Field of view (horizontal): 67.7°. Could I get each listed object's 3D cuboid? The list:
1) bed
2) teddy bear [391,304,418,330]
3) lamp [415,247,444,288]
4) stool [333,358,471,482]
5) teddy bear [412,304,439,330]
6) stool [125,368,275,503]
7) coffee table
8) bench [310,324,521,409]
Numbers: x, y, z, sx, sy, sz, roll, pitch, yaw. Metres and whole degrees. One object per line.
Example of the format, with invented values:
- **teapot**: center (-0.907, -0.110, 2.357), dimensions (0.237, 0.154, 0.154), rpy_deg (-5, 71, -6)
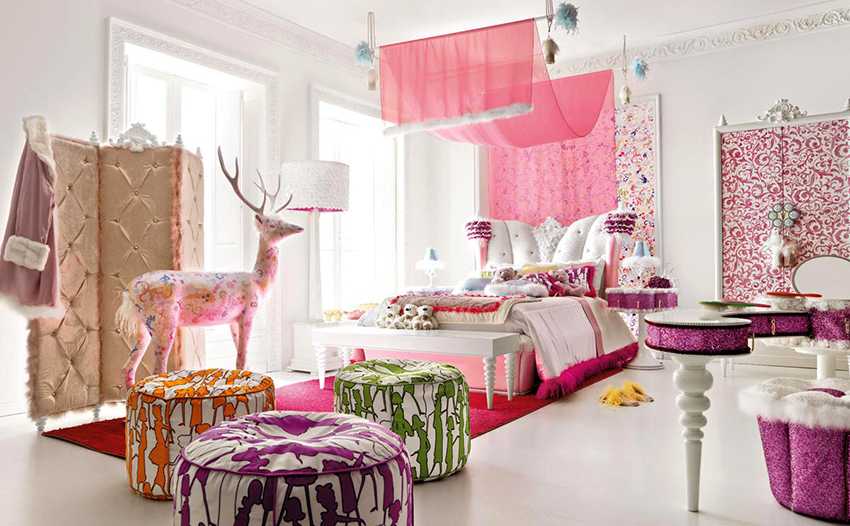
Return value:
- **bed**: center (1.000, 0.326, 7.714), dimensions (2.792, 1.854, 3.010), rpy_deg (1, 1, 42)
- **teddy bear**: center (-0.199, 0.559, 6.399), dimensions (0.218, 0.200, 0.123), rpy_deg (-3, -19, 19)
- **lamp**: center (0.136, 0.064, 9.003), dimensions (0.512, 0.597, 0.521), rpy_deg (-2, 4, -24)
- **stool**: center (-0.068, 1.112, 4.817), dimensions (0.873, 0.614, 0.864), rpy_deg (0, -1, 21)
- **teddy bear**: center (-0.012, 0.570, 6.383), dimensions (0.281, 0.271, 0.217), rpy_deg (5, -21, -6)
- **stool**: center (-1.630, 1.142, 4.653), dimensions (0.899, 0.641, 0.906), rpy_deg (2, -3, -34)
- **coffee table**: center (1.859, 0.994, 4.486), dimensions (0.533, 1.280, 0.617), rpy_deg (-10, 15, -38)
- **bench**: center (-0.024, 1.039, 6.363), dimensions (1.944, 0.631, 0.633), rpy_deg (-2, -1, 35)
